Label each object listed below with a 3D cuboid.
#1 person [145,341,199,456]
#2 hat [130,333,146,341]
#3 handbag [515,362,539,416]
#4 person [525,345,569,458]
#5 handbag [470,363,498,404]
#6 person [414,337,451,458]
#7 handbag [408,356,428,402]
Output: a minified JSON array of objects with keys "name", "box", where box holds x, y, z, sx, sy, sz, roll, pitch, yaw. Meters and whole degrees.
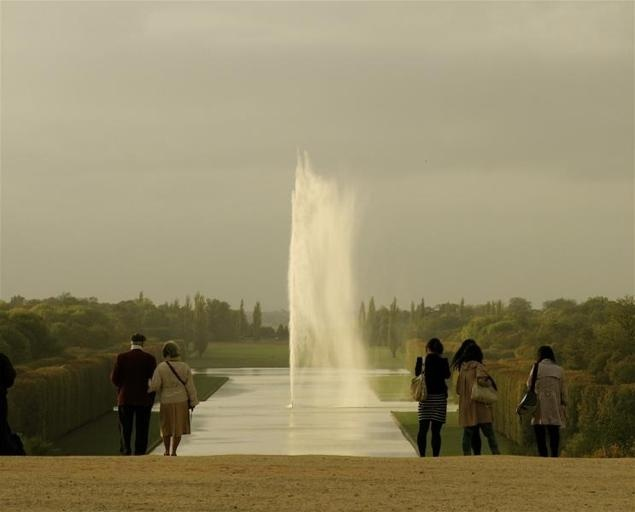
[{"name":"person","box":[-2.393,2.369,15.681,0.751,1.968,1.569,0,-3,-8]},{"name":"hat","box":[-2.910,1.313,15.353,0.154,0.103,0.161,3,6,29]},{"name":"handbag","box":[3.414,2.147,15.401,0.357,0.847,0.384,-1,-3,13]},{"name":"person","box":[3.718,2.351,15.397,0.595,1.793,0.447,-1,-3,15]},{"name":"handbag","box":[2.654,2.087,15.090,0.395,0.882,0.748,-6,-2,3]},{"name":"person","box":[1.831,2.262,15.204,0.567,1.896,0.722,-1,-3,8]},{"name":"handbag","box":[1.607,1.957,15.239,0.227,0.721,0.631,-1,-3,6]}]
